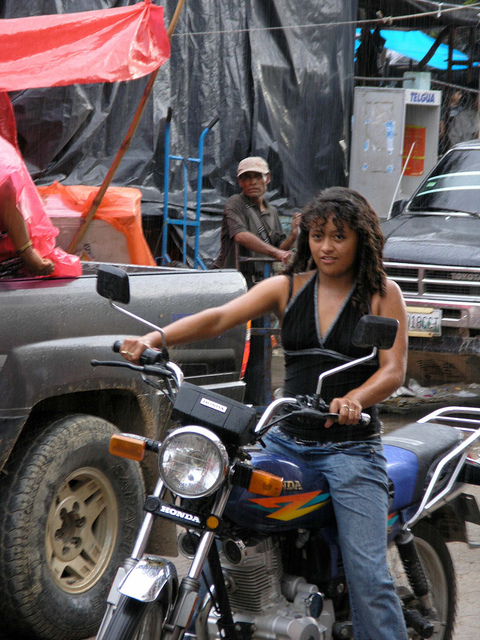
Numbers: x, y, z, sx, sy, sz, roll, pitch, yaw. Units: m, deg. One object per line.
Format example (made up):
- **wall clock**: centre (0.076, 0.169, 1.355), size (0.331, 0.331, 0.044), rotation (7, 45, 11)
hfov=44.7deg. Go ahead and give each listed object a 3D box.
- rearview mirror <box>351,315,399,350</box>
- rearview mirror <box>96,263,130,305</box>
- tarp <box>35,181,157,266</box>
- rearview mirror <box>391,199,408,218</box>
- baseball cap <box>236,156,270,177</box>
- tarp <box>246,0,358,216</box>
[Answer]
- **rearview mirror**: centre (0.342, 0.037, 1.480), size (0.088, 0.102, 0.087), rotation (11, 20, 34)
- **rearview mirror**: centre (-0.356, -0.100, 1.648), size (0.140, 0.103, 0.025), rotation (18, 28, 39)
- **tarp**: centre (-1.745, -1.257, 7.053), size (1.392, 1.138, 1.143), rotation (1, 6, -1)
- **rearview mirror**: centre (2.058, -1.440, 7.549), size (0.192, 0.194, 0.557), rotation (4, 16, 15)
- **baseball cap**: centre (0.163, -1.764, 6.708), size (0.346, 0.204, 0.293), rotation (0, 16, 0)
- **tarp**: centre (1.079, -3.725, 10.088), size (0.768, 3.709, 2.631), rotation (14, 22, 38)
